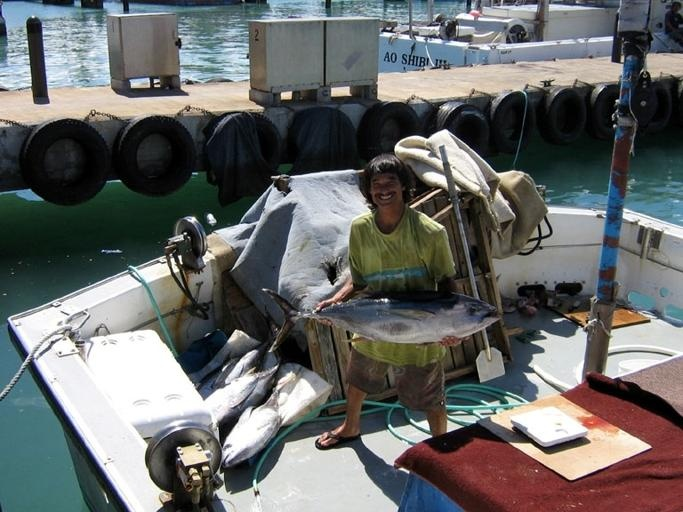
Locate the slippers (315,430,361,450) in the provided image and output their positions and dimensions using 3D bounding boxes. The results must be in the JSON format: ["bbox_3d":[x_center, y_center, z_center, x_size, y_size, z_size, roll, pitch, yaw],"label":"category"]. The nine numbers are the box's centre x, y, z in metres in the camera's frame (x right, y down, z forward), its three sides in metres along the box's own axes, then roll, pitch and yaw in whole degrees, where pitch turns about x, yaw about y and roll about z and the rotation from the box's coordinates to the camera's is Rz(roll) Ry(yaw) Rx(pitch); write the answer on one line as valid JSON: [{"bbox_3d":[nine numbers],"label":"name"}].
[{"bbox_3d":[-0.018,1.305,3.545,0.308,0.124,0.075,-8,-18,2],"label":"slippers"}]

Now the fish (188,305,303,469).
[{"bbox_3d":[-0.673,0.977,3.666,0.302,0.546,1.341,-30,16,42],"label":"fish"}]

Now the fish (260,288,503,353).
[{"bbox_3d":[0.127,0.324,2.835,1.701,0.414,0.438,1,-6,9],"label":"fish"}]

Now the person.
[{"bbox_3d":[0.355,0.385,3.009,1.001,1.957,0.518,6,22,21],"label":"person"}]
